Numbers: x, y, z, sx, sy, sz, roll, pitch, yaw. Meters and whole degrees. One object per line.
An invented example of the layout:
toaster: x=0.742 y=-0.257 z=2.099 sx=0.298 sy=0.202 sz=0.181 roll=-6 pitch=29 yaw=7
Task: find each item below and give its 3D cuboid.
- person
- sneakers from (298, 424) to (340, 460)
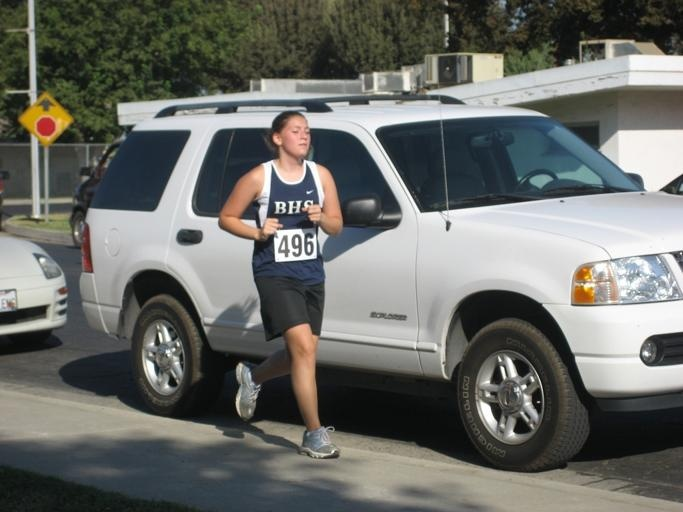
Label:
person: x=-0.364 y=0.197 z=5.173 sx=0.739 sy=2.260 sz=0.362 roll=-2 pitch=7 yaw=-1
sneakers: x=-0.160 y=1.240 z=5.244 sx=0.150 sy=0.159 sz=0.290 roll=2 pitch=-2 yaw=-45
